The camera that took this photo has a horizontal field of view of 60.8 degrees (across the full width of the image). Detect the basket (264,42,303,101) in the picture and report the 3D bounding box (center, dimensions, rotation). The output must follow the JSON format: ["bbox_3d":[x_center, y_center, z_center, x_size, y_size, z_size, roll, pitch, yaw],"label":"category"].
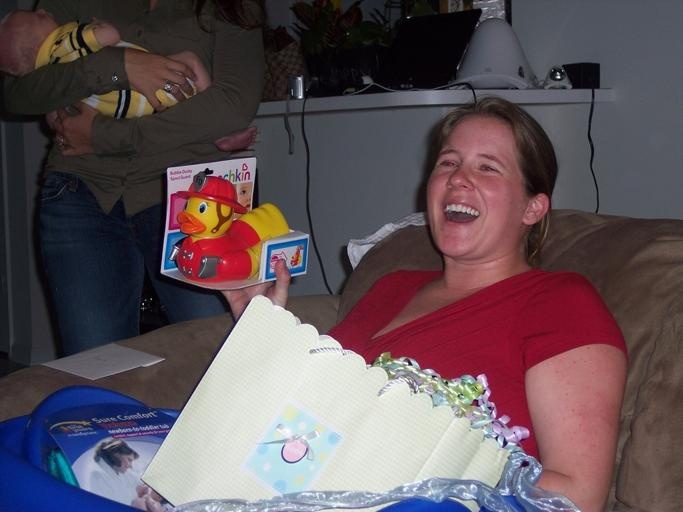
[{"bbox_3d":[-0.259,-0.808,2.526,0.202,0.236,0.081,-3,-6,10],"label":"basket"}]

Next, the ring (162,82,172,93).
[{"bbox_3d":[-0.452,-0.438,1.513,0.015,0.023,0.022,5,-7,2],"label":"ring"}]

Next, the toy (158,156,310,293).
[{"bbox_3d":[-0.231,-0.082,1.288,0.210,0.326,0.335,10,8,43],"label":"toy"}]

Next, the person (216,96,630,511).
[{"bbox_3d":[0.343,0.003,1.264,0.512,0.703,0.690,-7,13,-38],"label":"person"}]

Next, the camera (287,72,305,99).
[{"bbox_3d":[-0.185,-0.690,2.383,0.069,0.099,0.083,0,10,-6],"label":"camera"}]
